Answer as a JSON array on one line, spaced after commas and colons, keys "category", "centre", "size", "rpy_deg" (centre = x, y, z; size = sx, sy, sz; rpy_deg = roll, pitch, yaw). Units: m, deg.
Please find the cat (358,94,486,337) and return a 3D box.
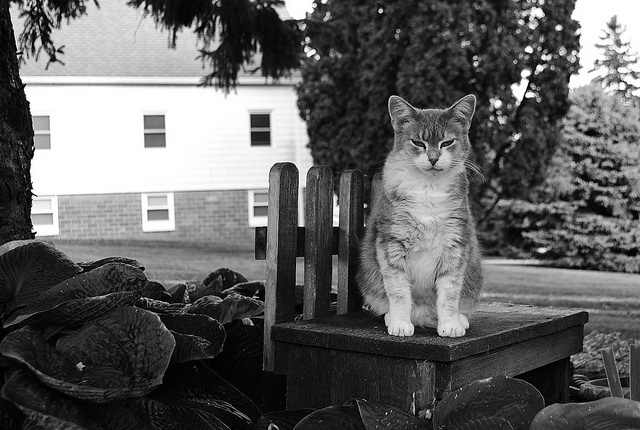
[{"category": "cat", "centre": [0.606, -0.026, 5.086], "size": [0.772, 1.377, 0.717], "rpy_deg": [0, 5, 3]}]
